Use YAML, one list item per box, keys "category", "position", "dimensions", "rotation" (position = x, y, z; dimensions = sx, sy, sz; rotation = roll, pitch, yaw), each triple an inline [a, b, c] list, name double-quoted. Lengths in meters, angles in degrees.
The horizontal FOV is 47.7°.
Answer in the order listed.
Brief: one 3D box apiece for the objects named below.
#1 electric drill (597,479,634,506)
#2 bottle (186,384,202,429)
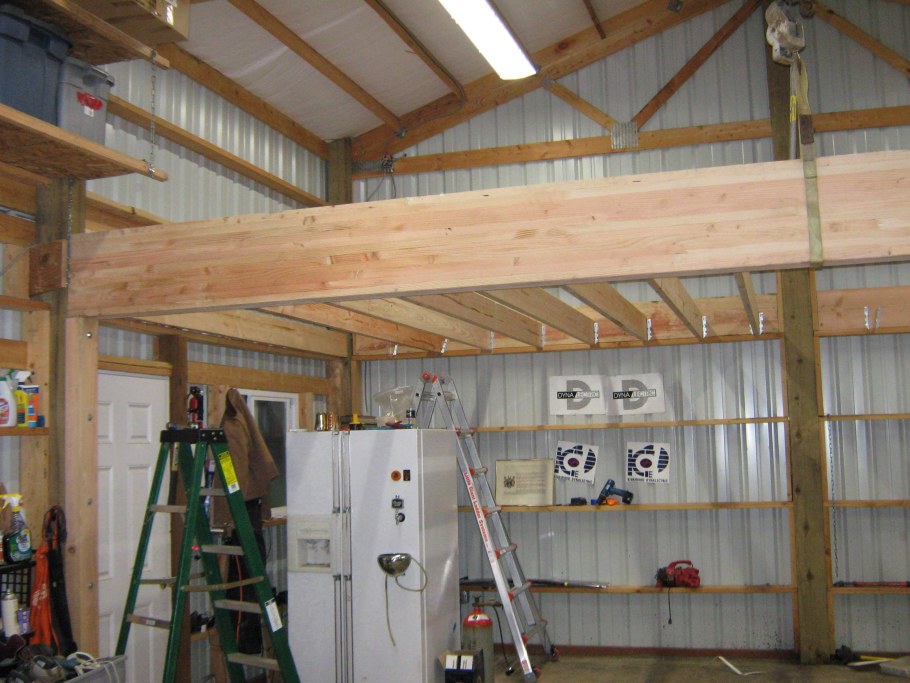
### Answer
- category: "electric drill"
  position: [1.501, 1.409, 9.703]
  dimensions: [0.340, 0.251, 0.275]
  rotation: [-2, -12, 9]
- category: "bottle"
  position: [-2.042, 0.479, 8.053]
  dimensions: [0.142, 0.357, 0.739]
  rotation: [3, -12, -14]
